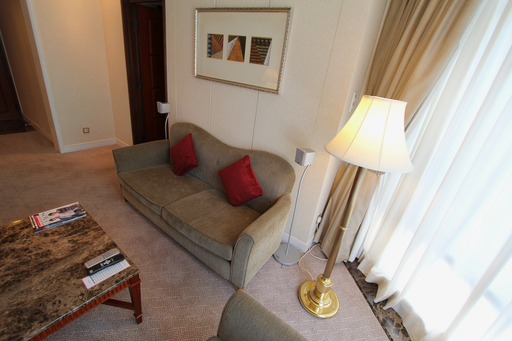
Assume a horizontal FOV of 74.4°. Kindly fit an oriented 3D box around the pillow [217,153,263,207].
[{"bbox_3d":[-0.196,0.125,3.943,0.600,0.538,0.182,-22,-12,32],"label":"pillow"}]

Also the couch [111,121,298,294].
[{"bbox_3d":[-0.627,0.323,4.126,2.084,1.161,1.068,26,35,30],"label":"couch"}]

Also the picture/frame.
[{"bbox_3d":[-0.113,-1.446,3.957,1.111,0.796,0.043,18,29,19],"label":"picture/frame"}]

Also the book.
[{"bbox_3d":[-2.046,0.442,3.508,0.453,0.107,0.271,-17,31,-33],"label":"book"}]

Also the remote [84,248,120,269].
[{"bbox_3d":[-1.448,0.830,3.193,0.284,0.044,0.127,-22,33,-36],"label":"remote"}]
